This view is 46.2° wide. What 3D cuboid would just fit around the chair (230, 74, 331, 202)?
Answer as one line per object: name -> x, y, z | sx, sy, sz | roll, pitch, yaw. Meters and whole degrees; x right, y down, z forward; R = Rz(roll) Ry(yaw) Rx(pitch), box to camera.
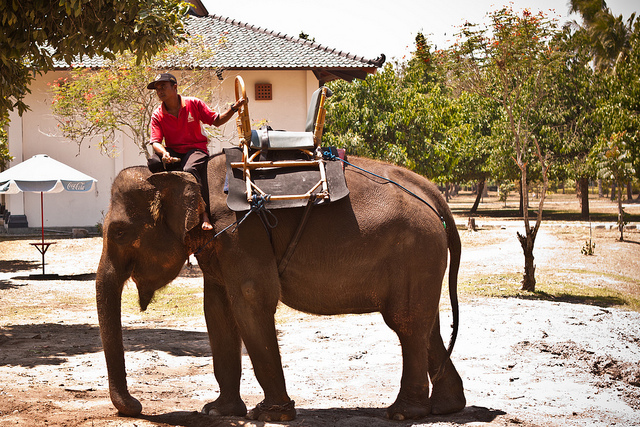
chair -> -0.287, -0.964, 10.067 | 1.403, 1.958, 1.814 | 2, 8, 25
